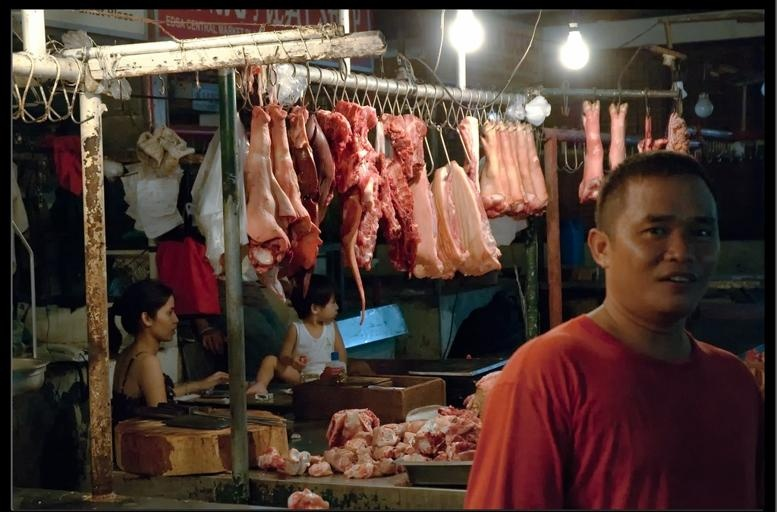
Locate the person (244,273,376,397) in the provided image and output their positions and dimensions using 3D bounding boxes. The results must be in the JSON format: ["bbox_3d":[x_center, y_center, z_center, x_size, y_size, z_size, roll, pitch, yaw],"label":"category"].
[{"bbox_3d":[-0.637,0.628,6.206,0.944,0.890,0.554,0,12,-19],"label":"person"}]

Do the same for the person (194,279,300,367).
[{"bbox_3d":[-1.215,0.617,7.287,0.697,1.163,0.311,-3,-6,-24],"label":"person"}]

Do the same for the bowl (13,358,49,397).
[{"bbox_3d":[-1.965,0.656,4.331,0.156,0.183,0.364,0,-1,-24],"label":"bowl"}]

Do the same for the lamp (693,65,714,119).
[{"bbox_3d":[2.884,-1.537,7.356,0.203,0.504,0.201,-14,9,-38],"label":"lamp"}]

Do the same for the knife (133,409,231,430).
[{"bbox_3d":[-1.124,0.900,4.387,0.342,0.043,0.193,0,-2,23],"label":"knife"}]

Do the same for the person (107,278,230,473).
[{"bbox_3d":[-1.519,0.891,5.488,0.738,1.360,0.656,-1,10,-12],"label":"person"}]

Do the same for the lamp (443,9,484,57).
[{"bbox_3d":[0.542,-1.644,5.711,0.210,0.319,0.292,0,-1,-2],"label":"lamp"}]

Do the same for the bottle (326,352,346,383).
[{"bbox_3d":[-0.355,0.748,5.331,0.129,0.219,0.123,-1,-9,0],"label":"bottle"}]

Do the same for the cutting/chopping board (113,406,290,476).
[{"bbox_3d":[-1.038,1.019,4.334,0.953,0.320,0.358,0,-1,-4],"label":"cutting/chopping board"}]

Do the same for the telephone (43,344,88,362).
[{"bbox_3d":[-2.511,0.749,6.142,0.273,0.093,0.197,4,1,-13],"label":"telephone"}]
